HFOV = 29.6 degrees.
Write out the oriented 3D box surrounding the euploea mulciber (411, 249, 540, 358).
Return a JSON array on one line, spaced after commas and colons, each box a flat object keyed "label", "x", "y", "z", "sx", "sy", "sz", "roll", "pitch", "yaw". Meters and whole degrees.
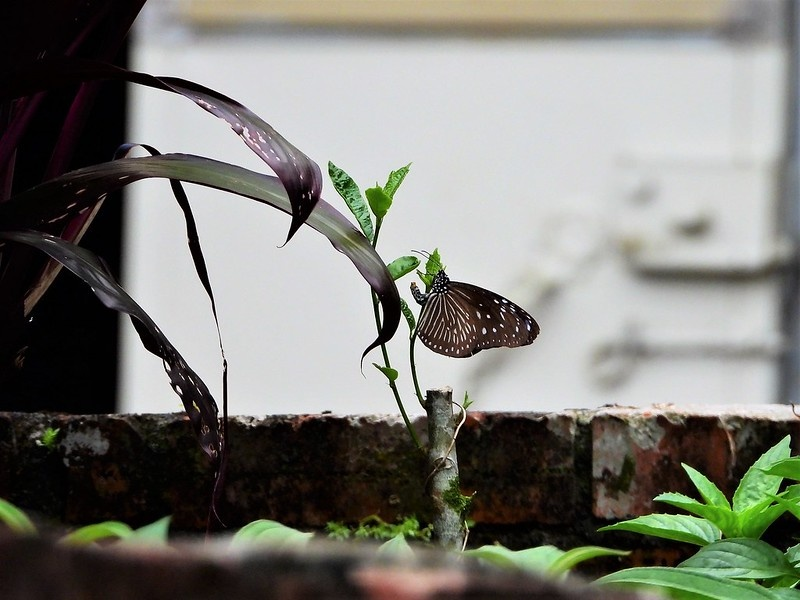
[{"label": "euploea mulciber", "x": 0.112, "y": 0.014, "z": 2.291, "sx": 0.139, "sy": 0.071, "sz": 0.168, "roll": 34, "pitch": 25, "yaw": 22}]
